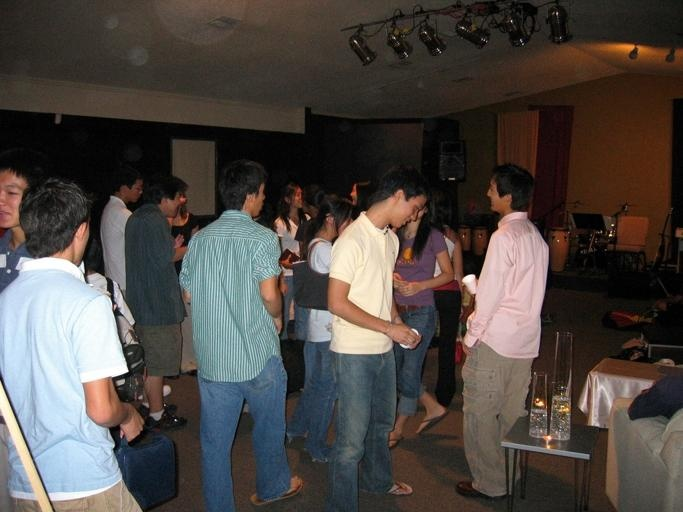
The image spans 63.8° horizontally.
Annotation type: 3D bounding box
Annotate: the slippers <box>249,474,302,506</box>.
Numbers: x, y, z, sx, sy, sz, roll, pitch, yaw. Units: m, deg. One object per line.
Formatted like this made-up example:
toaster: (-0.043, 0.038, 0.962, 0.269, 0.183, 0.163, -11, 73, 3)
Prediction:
slippers: (-0.396, 1.511, 3.555, 0.394, 0.134, 0.140, 9, -9, -43)

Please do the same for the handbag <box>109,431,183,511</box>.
handbag: (-1.017, 1.086, 2.866, 0.320, 0.478, 0.233, -3, 6, -35)

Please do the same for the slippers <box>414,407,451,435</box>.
slippers: (0.729, 1.323, 4.393, 0.088, 0.337, 0.124, 42, -1, 17)

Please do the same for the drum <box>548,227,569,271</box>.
drum: (4.323, -0.114, 10.941, 0.359, 0.834, 0.469, 2, 5, 21)

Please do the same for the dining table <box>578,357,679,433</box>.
dining table: (2.010, 0.952, 4.045, 0.626, 0.353, 0.585, 1, 13, 15)

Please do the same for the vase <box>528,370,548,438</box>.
vase: (1.163, 0.861, 3.234, 0.102, 0.395, 0.193, 2, 5, 20)

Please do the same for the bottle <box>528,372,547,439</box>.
bottle: (1.163, 0.861, 3.234, 0.102, 0.395, 0.193, 2, 5, 20)

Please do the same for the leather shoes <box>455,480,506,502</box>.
leather shoes: (0.900, 1.546, 3.602, 0.270, 0.116, 0.110, 10, 12, 40)

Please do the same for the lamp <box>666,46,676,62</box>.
lamp: (5.135, -3.170, 8.595, 0.046, 0.157, 0.107, 21, 23, 25)

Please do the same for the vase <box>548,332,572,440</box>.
vase: (1.301, 0.756, 3.240, 0.117, 0.610, 0.223, 3, 5, 23)

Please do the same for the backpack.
backpack: (-1.115, 0.463, 2.718, 0.255, 0.714, 0.837, -1, 6, -21)

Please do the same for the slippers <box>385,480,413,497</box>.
slippers: (0.384, 1.533, 3.592, 0.156, 0.040, 0.079, -5, 21, -21)
